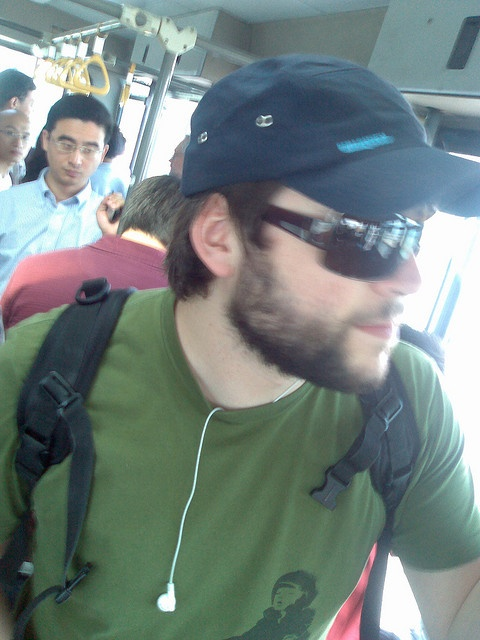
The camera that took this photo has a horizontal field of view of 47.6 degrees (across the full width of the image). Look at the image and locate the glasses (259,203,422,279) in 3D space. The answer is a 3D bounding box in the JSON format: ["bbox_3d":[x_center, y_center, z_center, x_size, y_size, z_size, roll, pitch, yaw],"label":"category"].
[{"bbox_3d":[0.179,-0.139,0.934,0.160,0.051,0.158,22,12,19],"label":"glasses"}]
